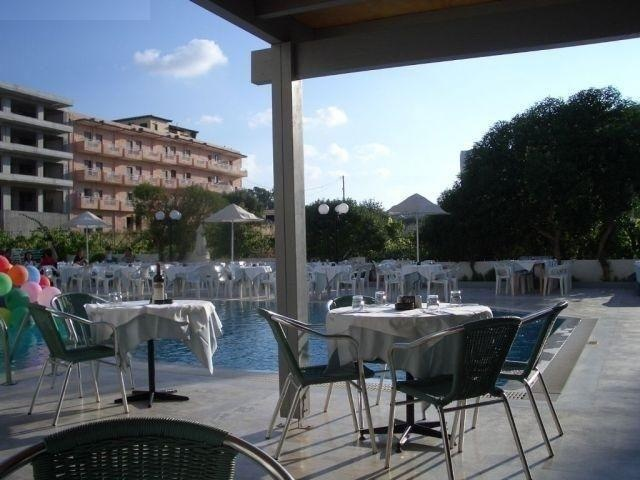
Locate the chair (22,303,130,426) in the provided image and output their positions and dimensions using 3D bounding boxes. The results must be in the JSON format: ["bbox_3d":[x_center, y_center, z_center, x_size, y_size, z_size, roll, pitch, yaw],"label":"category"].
[{"bbox_3d":[-2.208,1.110,6.035,0.686,1.084,0.707,-3,4,-44],"label":"chair"}]

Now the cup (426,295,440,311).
[{"bbox_3d":[0.950,0.540,5.607,0.101,0.203,0.111,0,1,0],"label":"cup"}]

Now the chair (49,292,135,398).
[{"bbox_3d":[-2.319,1.125,7.171,0.824,1.403,1.030,-1,1,-7],"label":"chair"}]

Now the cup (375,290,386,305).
[{"bbox_3d":[0.525,0.524,5.897,0.101,0.141,0.112,-2,-3,20],"label":"cup"}]

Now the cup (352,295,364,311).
[{"bbox_3d":[0.325,0.551,5.648,0.093,0.107,0.098,0,-2,0],"label":"cup"}]

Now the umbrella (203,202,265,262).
[{"bbox_3d":[-3.576,-0.121,27.288,2.151,3.189,2.490,1,6,11],"label":"umbrella"}]

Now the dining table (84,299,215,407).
[{"bbox_3d":[-1.669,1.114,6.733,1.177,1.116,1.241,1,5,-19],"label":"dining table"}]

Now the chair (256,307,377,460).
[{"bbox_3d":[-0.012,1.156,5.439,0.844,1.179,0.816,-2,0,-23],"label":"chair"}]

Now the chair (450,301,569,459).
[{"bbox_3d":[1.688,1.448,6.398,0.930,1.246,1.006,19,-14,11],"label":"chair"}]

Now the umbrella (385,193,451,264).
[{"bbox_3d":[2.284,-0.414,15.383,1.486,2.024,1.657,-1,1,-17],"label":"umbrella"}]
